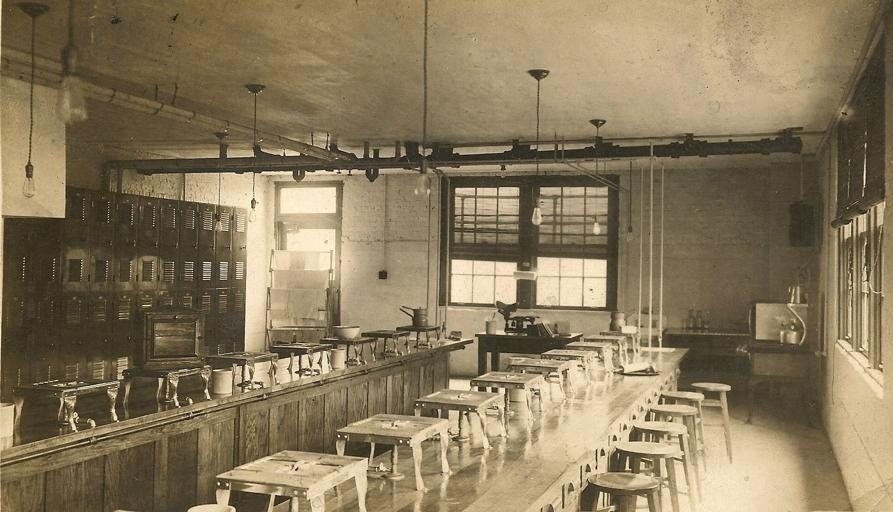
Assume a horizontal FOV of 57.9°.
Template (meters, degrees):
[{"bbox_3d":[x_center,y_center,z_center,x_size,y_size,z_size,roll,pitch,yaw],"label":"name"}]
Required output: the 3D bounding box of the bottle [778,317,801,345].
[{"bbox_3d":[5.323,1.177,12.500,0.311,0.387,0.355,-2,-2,21],"label":"bottle"}]

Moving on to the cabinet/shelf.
[{"bbox_3d":[-4.451,0.486,10.839,1.157,2.540,3.359,-4,-7,28],"label":"cabinet/shelf"}]

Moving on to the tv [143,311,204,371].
[{"bbox_3d":[-2.788,0.906,8.472,0.825,0.659,0.592,5,-11,-37],"label":"tv"}]

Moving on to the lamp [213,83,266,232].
[{"bbox_3d":[-3.211,-1.288,12.678,0.664,1.349,5.937,-1,-3,-14],"label":"lamp"}]
